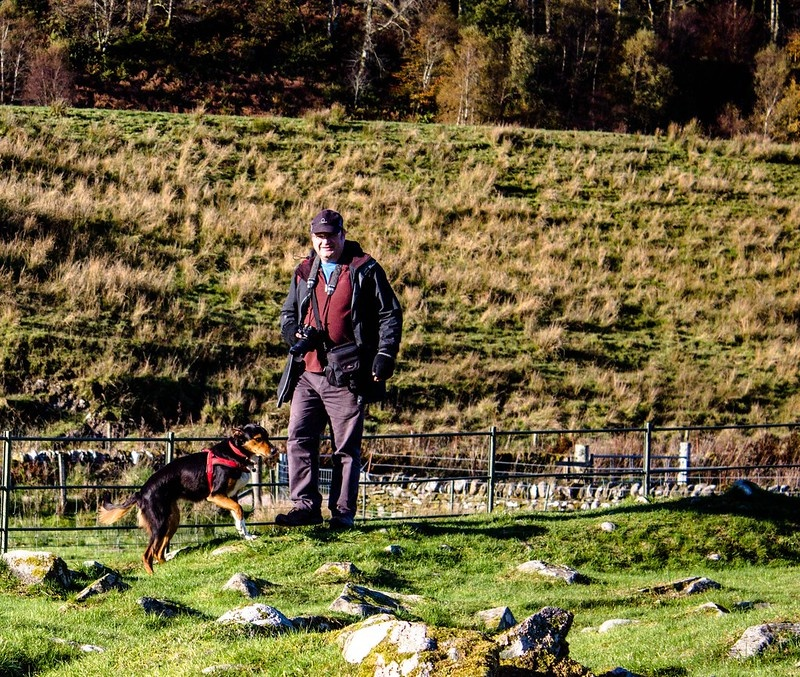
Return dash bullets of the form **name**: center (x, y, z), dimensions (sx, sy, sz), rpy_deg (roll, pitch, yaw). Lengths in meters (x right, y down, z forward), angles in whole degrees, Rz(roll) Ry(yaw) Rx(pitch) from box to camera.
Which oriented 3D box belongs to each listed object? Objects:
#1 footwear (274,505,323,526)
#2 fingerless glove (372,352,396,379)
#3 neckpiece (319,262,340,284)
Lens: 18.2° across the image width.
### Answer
- **footwear**: center (-2.979, 5.324, 73.576), dimensions (1.264, 0.771, 0.588), rpy_deg (3, -6, -9)
- **fingerless glove**: center (-0.528, 0.880, 72.745), dimensions (0.480, 0.808, 0.268), rpy_deg (4, 25, -27)
- **neckpiece**: center (-2.127, -1.807, 73.273), dimensions (0.376, 0.663, 0.221), rpy_deg (2, -12, 11)
